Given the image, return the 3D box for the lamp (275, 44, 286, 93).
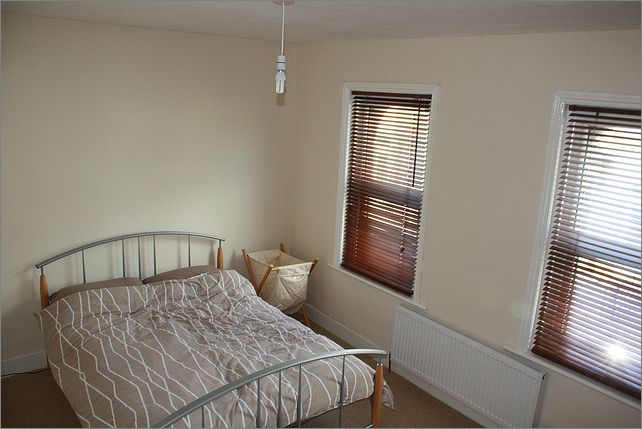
[{"bbox_3d":[-0.308,-1.095,3.547,0.066,0.330,0.258,2,14,-7],"label":"lamp"}]
